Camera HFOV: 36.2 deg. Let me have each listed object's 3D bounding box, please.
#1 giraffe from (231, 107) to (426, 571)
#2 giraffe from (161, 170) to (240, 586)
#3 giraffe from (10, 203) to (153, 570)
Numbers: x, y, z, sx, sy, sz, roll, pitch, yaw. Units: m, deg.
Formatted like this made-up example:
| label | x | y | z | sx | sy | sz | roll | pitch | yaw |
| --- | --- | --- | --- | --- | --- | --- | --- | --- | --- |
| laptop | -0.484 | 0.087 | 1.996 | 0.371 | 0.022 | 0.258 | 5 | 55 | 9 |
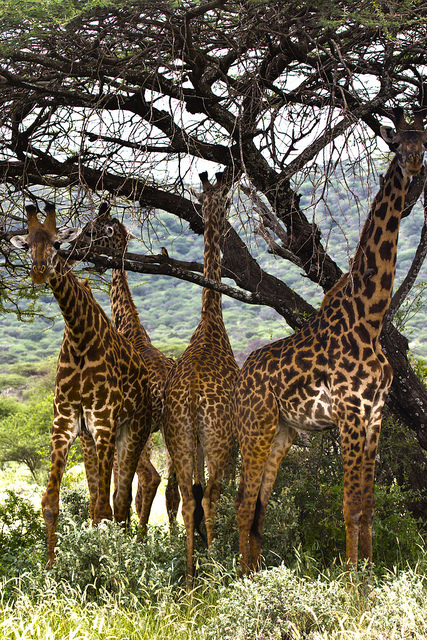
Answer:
| label | x | y | z | sx | sy | sz | roll | pitch | yaw |
| --- | --- | --- | --- | --- | --- | --- | --- | --- | --- |
| giraffe | 0.841 | 0.254 | 4.666 | 0.535 | 3.302 | 1.595 | 5 | -5 | -44 |
| giraffe | -0.099 | 0.243 | 5.753 | 0.658 | 3.564 | 1.635 | 2 | -3 | 2 |
| giraffe | -0.937 | 0.718 | 5.372 | 0.647 | 2.310 | 1.509 | 2 | -3 | 0 |
